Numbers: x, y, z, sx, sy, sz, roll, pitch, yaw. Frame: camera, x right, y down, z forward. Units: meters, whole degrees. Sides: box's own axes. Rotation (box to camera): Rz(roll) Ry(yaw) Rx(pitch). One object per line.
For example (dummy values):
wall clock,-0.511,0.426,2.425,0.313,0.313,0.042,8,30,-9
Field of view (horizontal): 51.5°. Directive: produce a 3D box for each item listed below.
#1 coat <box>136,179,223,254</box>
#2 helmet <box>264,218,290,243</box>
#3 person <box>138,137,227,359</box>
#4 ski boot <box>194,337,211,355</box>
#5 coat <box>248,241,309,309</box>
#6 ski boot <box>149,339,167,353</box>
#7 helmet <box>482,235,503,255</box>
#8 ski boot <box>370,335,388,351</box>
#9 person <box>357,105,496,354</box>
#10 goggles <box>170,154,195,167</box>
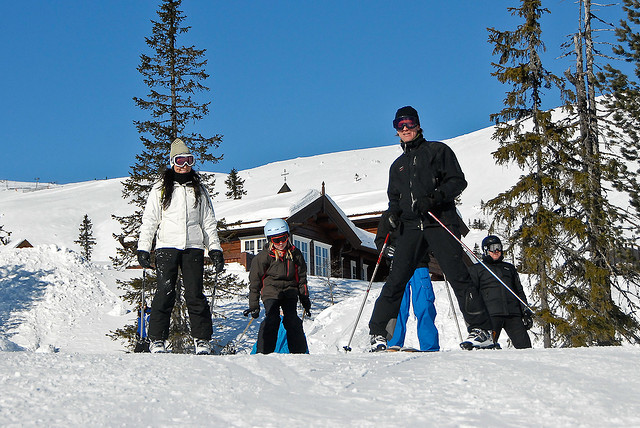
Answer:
coat,-2.026,0.029,9.408,1.138,1.044,0.469,2,-3,-16
helmet,-0.775,0.266,11.243,0.292,0.331,0.349,-9,-22,-11
person,-1.984,0.407,9.257,1.158,2.997,0.789,2,-3,-11
ski boot,-1.623,1.789,9.012,0.226,0.204,0.433,2,-2,-13
coat,-0.711,1.004,11.041,0.976,1.065,0.489,1,-3,-9
ski boot,-2.215,1.774,8.888,0.179,0.172,0.167,2,-2,13
helmet,2.974,0.543,11.564,0.281,0.345,0.354,1,-14,-9
ski boot,0.762,1.675,8.637,0.215,0.190,0.152,1,-2,4
person,1.423,0.170,8.793,1.466,3.252,0.727,0,-3,13
goggles,-2.033,-0.773,9.580,0.342,0.183,0.156,1,-2,-6
